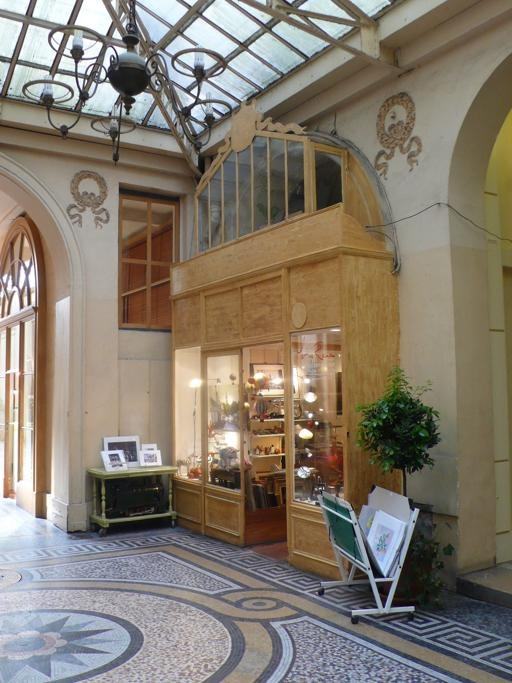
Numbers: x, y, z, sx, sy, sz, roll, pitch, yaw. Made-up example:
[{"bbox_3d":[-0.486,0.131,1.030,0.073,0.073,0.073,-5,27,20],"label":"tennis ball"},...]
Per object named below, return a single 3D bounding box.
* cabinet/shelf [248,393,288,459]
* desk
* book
[{"bbox_3d":[0.082,1.047,7.233,0.574,0.782,0.179,7,-12,-41],"label":"cabinet/shelf"},{"bbox_3d":[-1.650,2.141,7.885,1.088,0.732,0.484,6,-13,-39],"label":"desk"},{"bbox_3d":[0.982,1.556,4.544,0.315,0.434,0.735,-1,-8,6],"label":"book"}]
